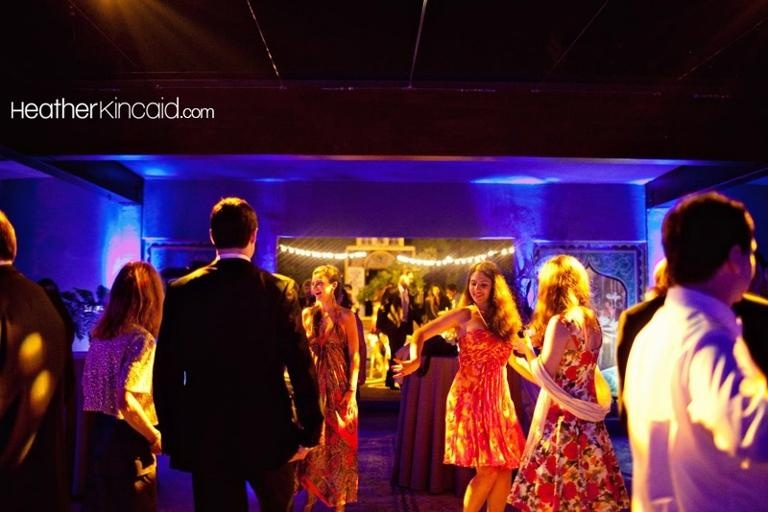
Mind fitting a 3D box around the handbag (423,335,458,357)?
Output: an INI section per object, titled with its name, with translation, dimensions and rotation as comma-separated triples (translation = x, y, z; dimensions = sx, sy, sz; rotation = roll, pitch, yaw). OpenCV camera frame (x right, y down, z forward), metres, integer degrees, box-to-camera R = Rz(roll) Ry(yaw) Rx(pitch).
[handbag]
translation = 0.528, 0.860, 5.866
dimensions = 0.321, 0.200, 0.165
rotation = -2, -6, 3
